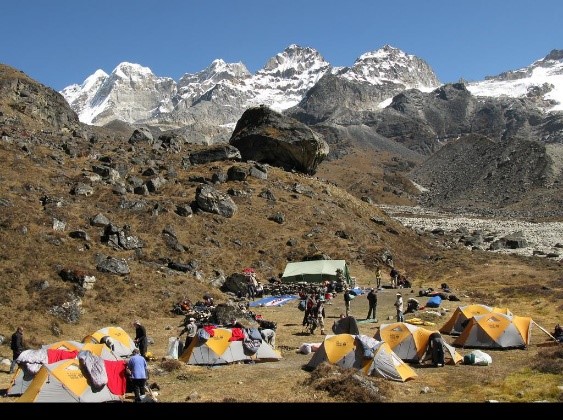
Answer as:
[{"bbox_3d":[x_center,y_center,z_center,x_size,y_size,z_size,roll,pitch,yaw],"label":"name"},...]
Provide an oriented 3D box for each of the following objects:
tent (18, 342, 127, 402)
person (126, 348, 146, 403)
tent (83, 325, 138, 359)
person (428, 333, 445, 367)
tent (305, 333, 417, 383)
[{"bbox_3d":[-14.717,11.999,46.662,8.400,3.329,6.788,-2,4,-17],"label":"tent"},{"bbox_3d":[-10.231,11.695,46.870,1.344,3.705,0.945,-2,-6,-15],"label":"person"},{"bbox_3d":[-13.482,10.758,53.185,5.432,2.149,4.874,0,3,-21],"label":"tent"},{"bbox_3d":[11.986,10.751,50.941,1.130,2.573,0.527,-4,-6,4],"label":"person"},{"bbox_3d":[6.200,10.946,51.131,8.012,2.287,5.894,2,-2,35],"label":"tent"}]
